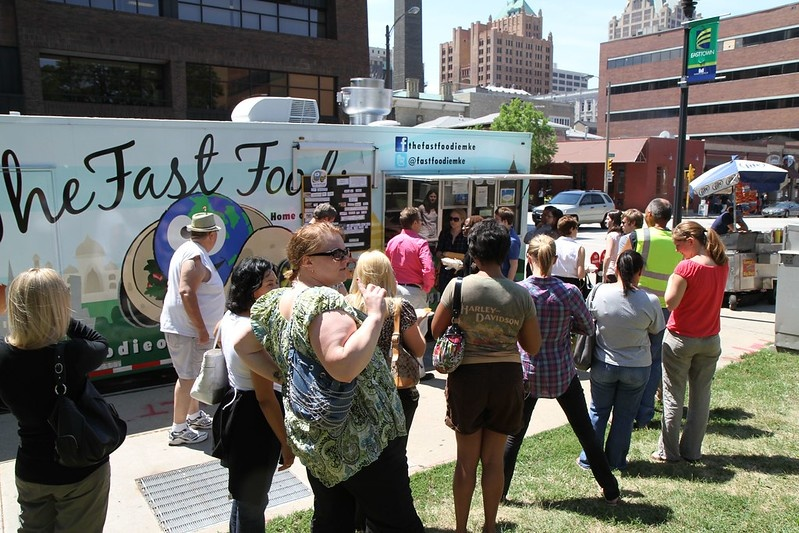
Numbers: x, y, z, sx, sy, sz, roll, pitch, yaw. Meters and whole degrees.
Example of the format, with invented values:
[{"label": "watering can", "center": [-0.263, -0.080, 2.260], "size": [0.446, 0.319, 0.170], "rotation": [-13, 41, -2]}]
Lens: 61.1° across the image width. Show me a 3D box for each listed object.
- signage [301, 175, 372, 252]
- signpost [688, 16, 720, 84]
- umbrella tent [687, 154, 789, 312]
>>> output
[{"label": "signage", "center": [-0.836, -0.713, 8.576], "size": [1.078, 1.163, 0.115], "rotation": [-3, 3, -35]}, {"label": "signpost", "center": [5.599, -3.971, 12.504], "size": [0.514, 1.156, 0.911], "rotation": [5, 14, 23]}, {"label": "umbrella tent", "center": [7.557, -0.856, 15.148], "size": [2.444, 2.952, 2.557], "rotation": [-2, 0, 1]}]
